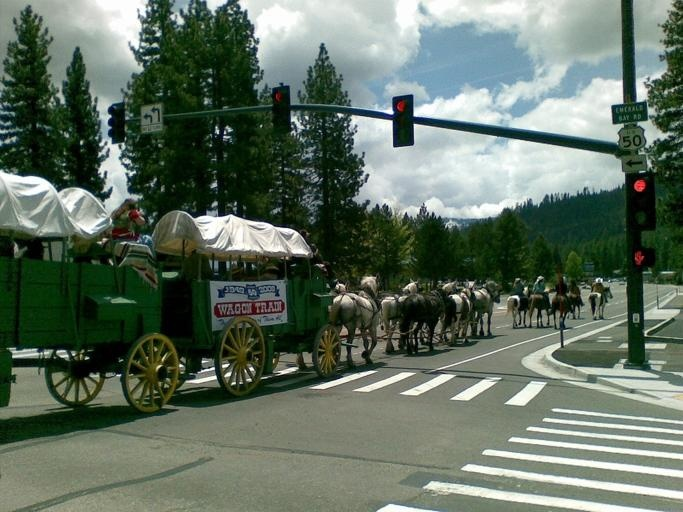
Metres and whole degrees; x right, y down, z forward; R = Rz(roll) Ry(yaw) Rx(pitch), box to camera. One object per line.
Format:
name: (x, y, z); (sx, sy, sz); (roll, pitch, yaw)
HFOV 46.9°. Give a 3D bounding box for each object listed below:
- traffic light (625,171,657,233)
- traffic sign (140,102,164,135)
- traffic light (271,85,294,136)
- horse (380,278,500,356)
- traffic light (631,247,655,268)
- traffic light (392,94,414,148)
traffic light: (8.232, -1.478, 21.582); (0.745, 1.621, 0.871); (1, 5, 20)
traffic sign: (-5.681, -4.151, 23.610); (0.866, 0.854, 0.416); (3, 5, 31)
traffic light: (-1.754, -4.340, 23.139); (0.564, 1.394, 0.478); (0, 5, 3)
horse: (3.987, 2.164, 29.289); (1.435, 3.398, 6.307); (3, 5, 38)
traffic light: (8.422, 0.078, 21.631); (0.524, 0.601, 0.787); (-2, 5, -19)
traffic light: (1.751, -3.846, 22.358); (0.605, 1.439, 0.706); (0, 5, 3)
